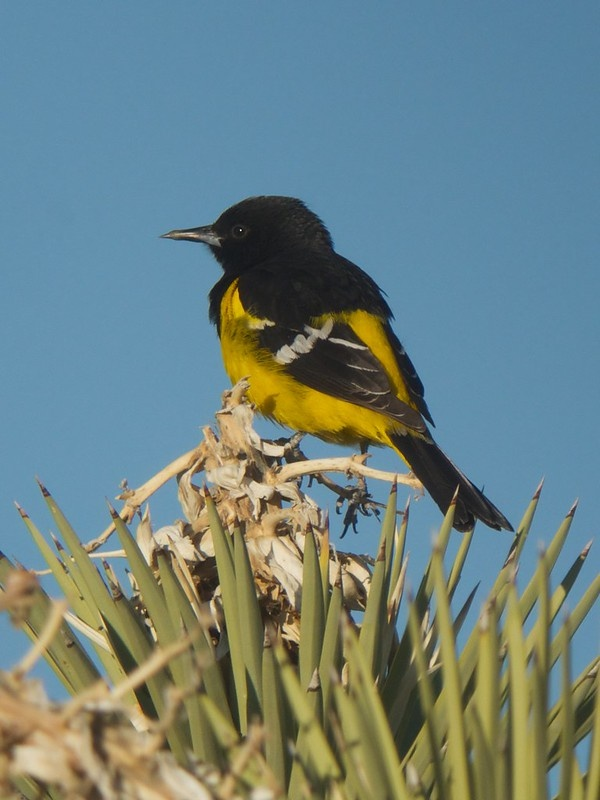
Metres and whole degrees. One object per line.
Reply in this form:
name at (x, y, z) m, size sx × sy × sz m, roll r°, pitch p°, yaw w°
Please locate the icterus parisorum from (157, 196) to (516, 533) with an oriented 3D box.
icterus parisorum at (0.072, -0.139, 3.412) m, size 0.316 × 0.564 × 0.992 m, roll -2°, pitch 15°, yaw -43°
